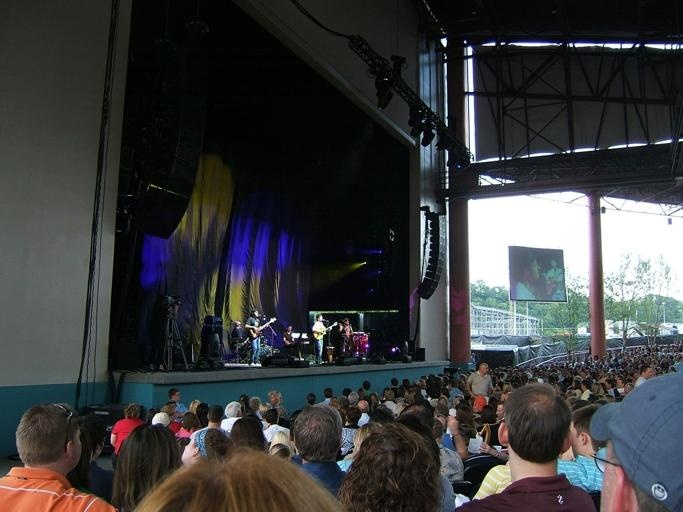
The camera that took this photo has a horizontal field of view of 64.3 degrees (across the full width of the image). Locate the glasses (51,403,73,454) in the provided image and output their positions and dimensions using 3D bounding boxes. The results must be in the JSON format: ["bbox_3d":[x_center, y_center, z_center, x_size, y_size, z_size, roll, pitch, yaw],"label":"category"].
[{"bbox_3d":[-1.599,0.976,3.123,0.145,0.185,0.052,1,1,10],"label":"glasses"}]

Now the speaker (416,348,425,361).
[{"bbox_3d":[2.495,3.122,17.250,0.265,0.572,0.289,3,8,11],"label":"speaker"}]

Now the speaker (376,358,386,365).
[{"bbox_3d":[1.113,2.954,15.214,0.087,0.114,0.324,3,-1,24],"label":"speaker"}]

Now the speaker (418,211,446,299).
[{"bbox_3d":[2.856,-0.163,17.565,0.870,3.094,1.946,2,-9,-8],"label":"speaker"}]

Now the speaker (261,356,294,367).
[{"bbox_3d":[-1.347,2.267,11.739,0.347,0.135,0.362,-1,1,16],"label":"speaker"}]

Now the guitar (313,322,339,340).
[{"bbox_3d":[-0.515,2.031,15.347,0.125,0.469,0.917,-17,1,32],"label":"guitar"}]

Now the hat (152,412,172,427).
[{"bbox_3d":[-1.842,1.682,5.548,0.152,0.154,0.800,3,-10,-16],"label":"hat"}]

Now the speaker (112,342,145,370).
[{"bbox_3d":[-3.858,1.808,9.826,0.100,0.452,0.448,-1,-4,18],"label":"speaker"}]
